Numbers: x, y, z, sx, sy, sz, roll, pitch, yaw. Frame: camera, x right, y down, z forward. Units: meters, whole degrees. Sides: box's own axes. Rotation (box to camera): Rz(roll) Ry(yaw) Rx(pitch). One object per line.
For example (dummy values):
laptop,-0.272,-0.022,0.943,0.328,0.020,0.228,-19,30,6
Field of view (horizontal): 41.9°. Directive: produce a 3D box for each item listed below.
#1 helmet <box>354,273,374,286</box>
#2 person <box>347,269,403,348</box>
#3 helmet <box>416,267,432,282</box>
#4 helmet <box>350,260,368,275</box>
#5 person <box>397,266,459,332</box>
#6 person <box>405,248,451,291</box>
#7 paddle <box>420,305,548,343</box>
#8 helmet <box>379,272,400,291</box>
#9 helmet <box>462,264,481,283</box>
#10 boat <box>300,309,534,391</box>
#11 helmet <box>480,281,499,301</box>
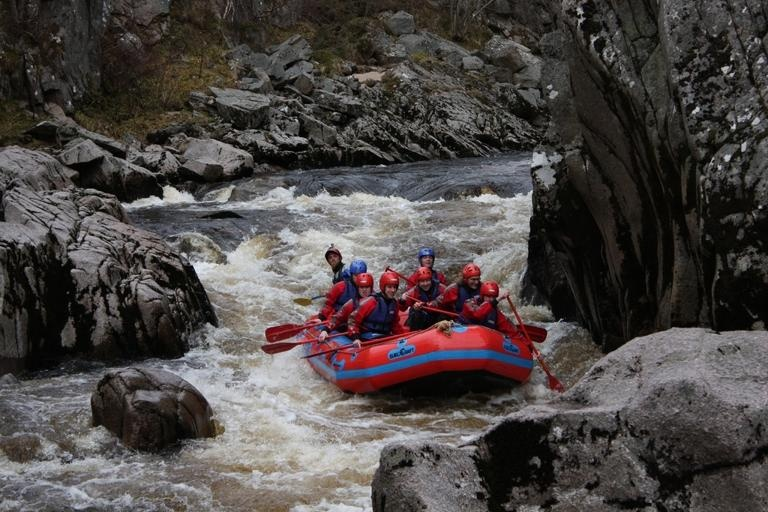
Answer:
helmet,-0.346,0.396,17.253,0.200,0.239,0.254,2,9,0
person,-0.003,0.911,17.245,1.089,1.362,1.008,7,15,-13
helmet,0.687,0.299,17.517,0.298,0.233,0.255,0,3,25
helmet,-0.458,0.192,18.065,0.235,0.270,0.295,6,-13,-8
person,0.714,0.670,17.695,0.914,1.453,1.051,-5,34,3
person,0.850,0.273,19.204,0.712,1.144,0.392,-5,18,-8
paddle,1.630,1.158,17.102,0.221,0.469,2.894,-16,16,-39
helmet,0.084,0.407,17.200,0.305,0.331,0.390,-1,2,-2
helmet,1.548,0.280,17.457,0.242,0.292,0.309,0,39,-14
boat,0.521,1.720,16.633,2.498,0.668,1.501,-9,-18,28
helmet,1.786,0.587,16.921,0.233,0.275,0.312,8,-33,6
